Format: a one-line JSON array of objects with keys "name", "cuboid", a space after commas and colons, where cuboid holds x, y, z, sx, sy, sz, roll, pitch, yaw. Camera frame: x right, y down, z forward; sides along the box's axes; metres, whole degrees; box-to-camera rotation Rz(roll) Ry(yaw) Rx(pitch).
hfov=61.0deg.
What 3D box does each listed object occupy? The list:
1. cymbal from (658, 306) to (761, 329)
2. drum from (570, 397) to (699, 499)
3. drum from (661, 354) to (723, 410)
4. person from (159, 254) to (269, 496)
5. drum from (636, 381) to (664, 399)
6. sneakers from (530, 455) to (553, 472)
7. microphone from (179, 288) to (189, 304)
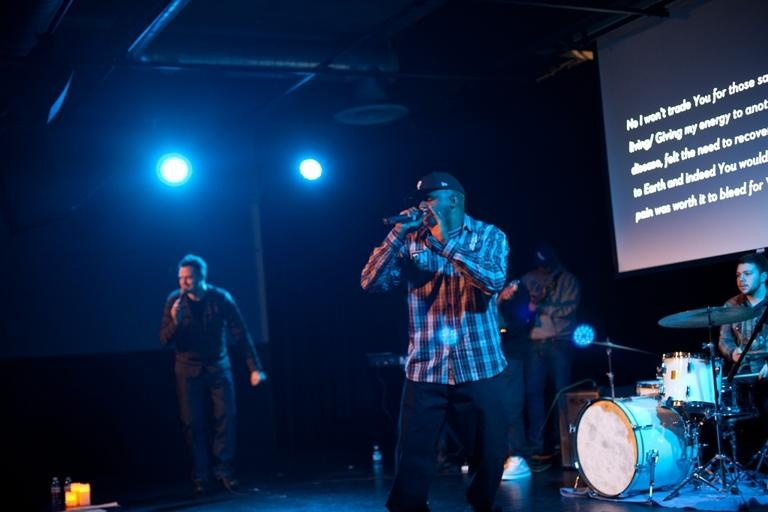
[{"name": "cymbal", "cuboid": [2.998, 0.557, 5.989, 0.435, 0.113, 0.457, -7, -20, 11]}, {"name": "drum", "cuboid": [2.379, 1.804, 6.298, 0.731, 0.939, 0.883, 1, -4, -22]}, {"name": "drum", "cuboid": [2.928, 1.193, 6.180, 0.503, 0.492, 0.551, 4, -9, 18]}, {"name": "person", "cuboid": [-2.053, 1.346, 7.546, 1.052, 2.624, 0.418, 4, -16, -22]}, {"name": "drum", "cuboid": [2.639, 1.322, 6.478, 0.212, 0.136, 0.222, 0, -13, 0]}, {"name": "sneakers", "cuboid": [1.831, 2.429, 7.627, 0.256, 0.170, 0.494, -6, -16, 12]}, {"name": "microphone", "cuboid": [-2.336, 0.460, 7.591, 0.100, 0.150, 0.038, 22, -1, 3]}]
